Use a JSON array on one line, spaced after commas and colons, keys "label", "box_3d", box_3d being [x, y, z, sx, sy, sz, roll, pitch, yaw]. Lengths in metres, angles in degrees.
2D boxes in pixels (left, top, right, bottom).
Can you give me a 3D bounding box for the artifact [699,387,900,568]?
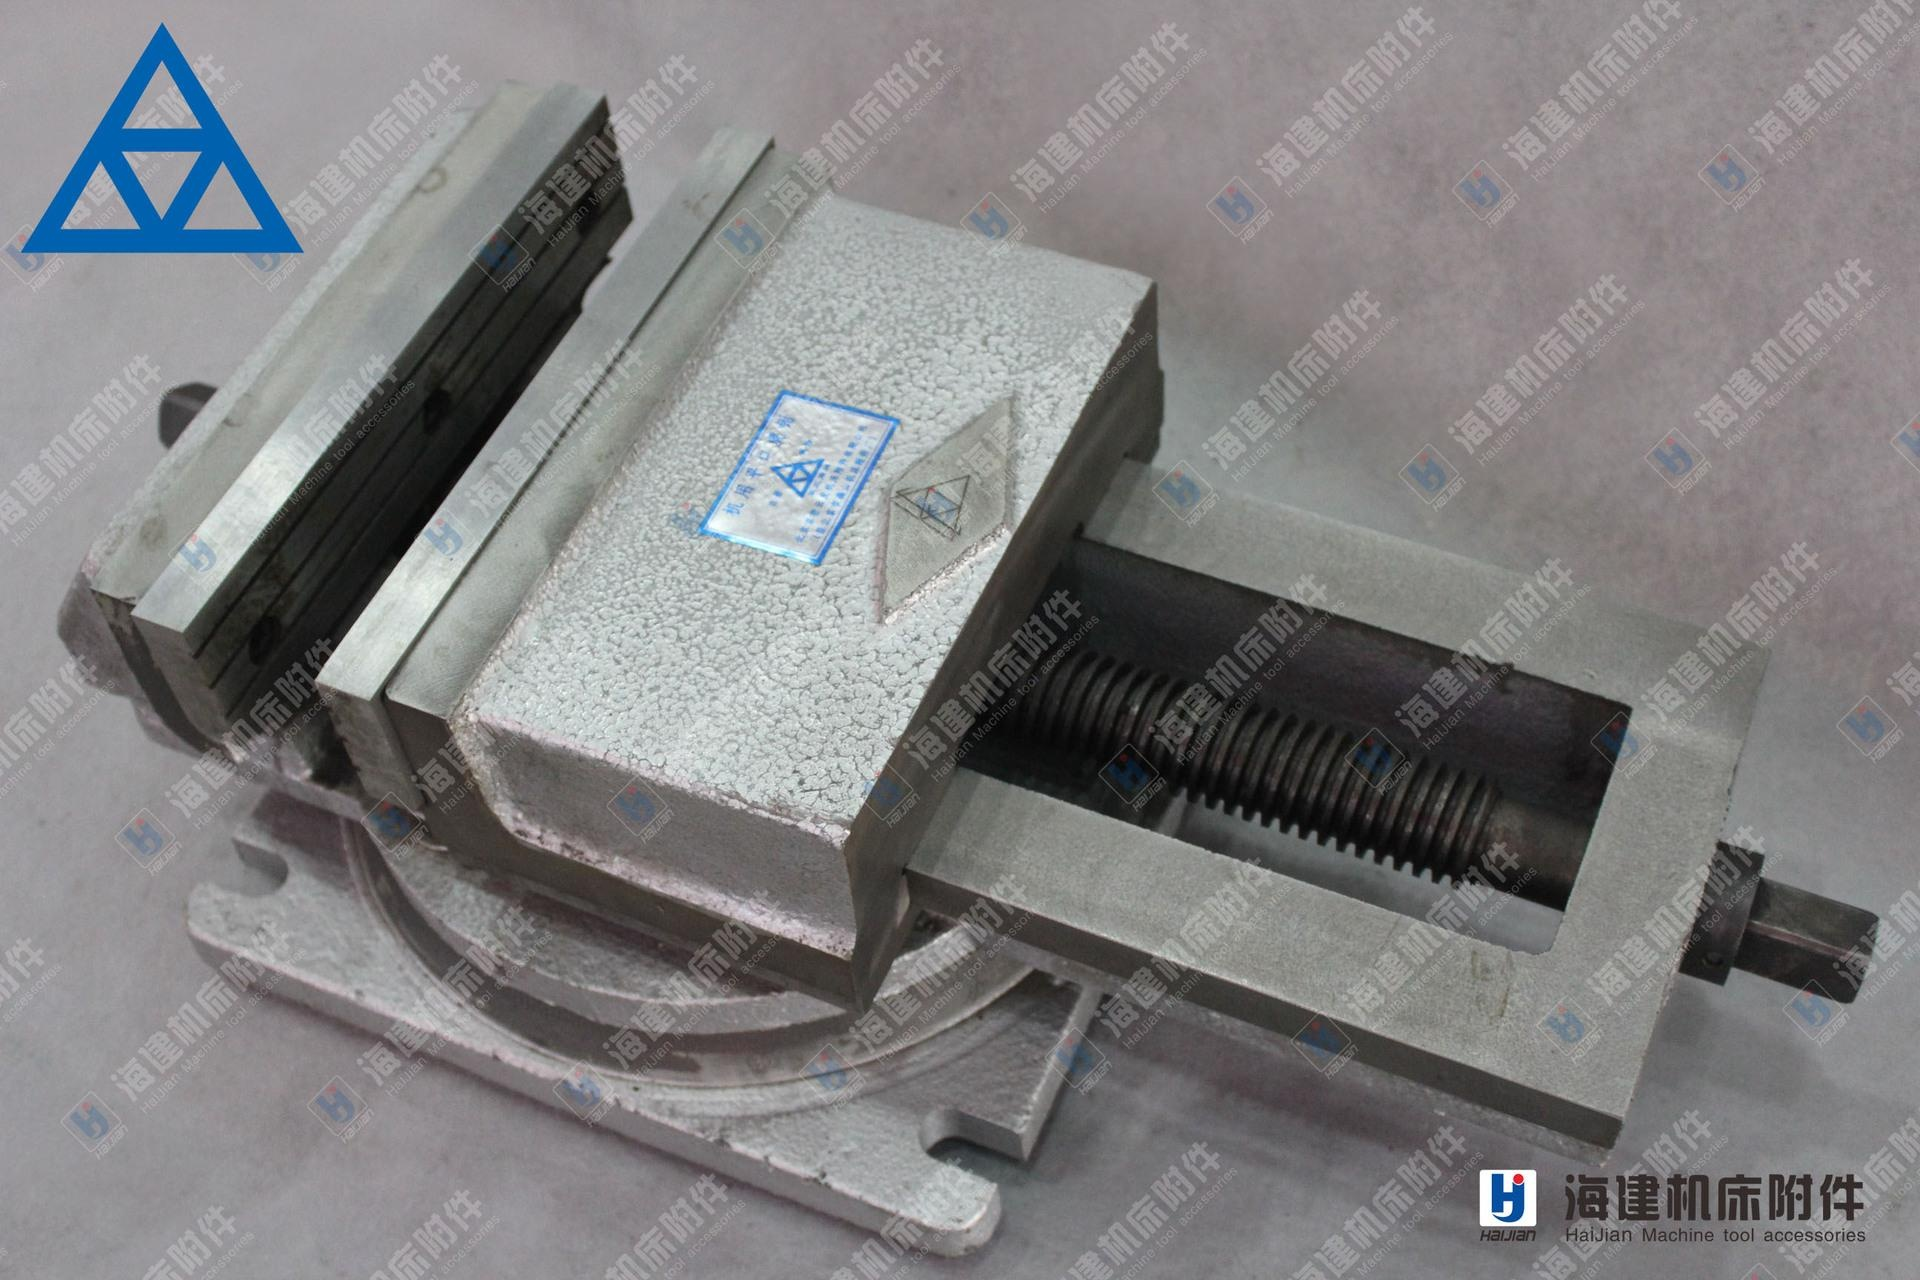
[{"label": "artifact", "box_3d": [-0.191, -0.194, 2.224, 0.149, 0.075, 0.246, 28, 76, 0]}]
